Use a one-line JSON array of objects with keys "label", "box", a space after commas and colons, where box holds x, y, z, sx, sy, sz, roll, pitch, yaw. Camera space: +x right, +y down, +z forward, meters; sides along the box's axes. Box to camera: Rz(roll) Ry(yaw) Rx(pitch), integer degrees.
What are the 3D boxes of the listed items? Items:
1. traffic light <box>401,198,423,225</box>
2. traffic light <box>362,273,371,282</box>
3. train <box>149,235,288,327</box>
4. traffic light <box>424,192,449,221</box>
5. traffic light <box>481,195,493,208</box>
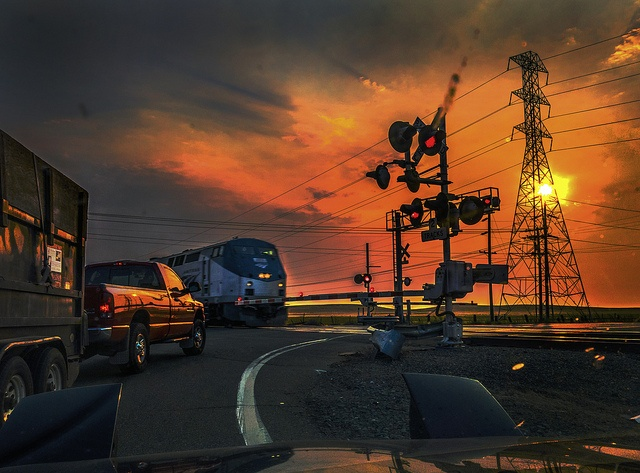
[{"label": "traffic light", "box": [2.273, -0.536, 13.920, 0.516, 0.712, 0.730, -2, 0, 10]}, {"label": "traffic light", "box": [2.625, 2.348, 31.156, 0.417, 0.501, 1.391, -2, 0, 4]}, {"label": "train", "box": [-6.478, 2.894, 32.983, 3.484, 4.678, 12.308, 0, -6, -40]}, {"label": "traffic light", "box": [2.876, -0.731, 13.765, 0.382, 0.662, 0.665, 15, 4, -14]}, {"label": "traffic light", "box": [4.134, -0.828, 14.017, 0.276, 0.304, 0.296, -2, 0, 12]}]
